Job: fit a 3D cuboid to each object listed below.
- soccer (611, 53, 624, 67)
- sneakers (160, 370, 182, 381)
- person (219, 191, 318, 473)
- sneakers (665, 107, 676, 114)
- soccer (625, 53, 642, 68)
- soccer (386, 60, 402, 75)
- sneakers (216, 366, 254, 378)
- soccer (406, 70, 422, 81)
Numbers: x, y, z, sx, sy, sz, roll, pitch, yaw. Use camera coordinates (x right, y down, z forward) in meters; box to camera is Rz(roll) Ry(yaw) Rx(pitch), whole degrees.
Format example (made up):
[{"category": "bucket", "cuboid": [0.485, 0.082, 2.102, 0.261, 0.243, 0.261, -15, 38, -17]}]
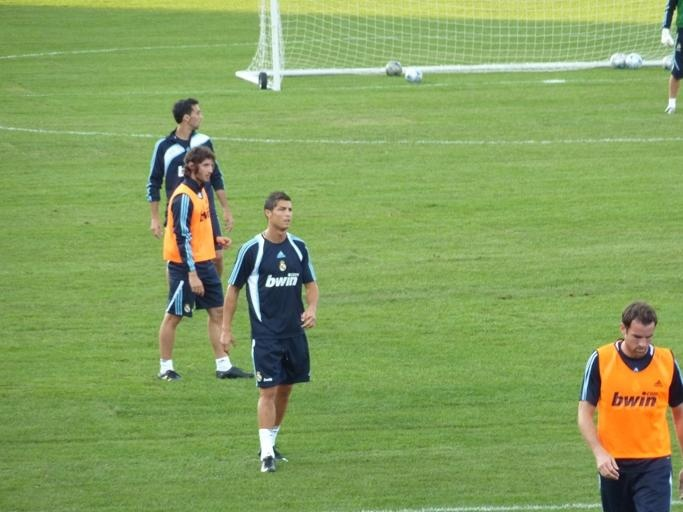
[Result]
[{"category": "soccer", "cuboid": [7.614, -5.359, 45.495, 0.400, 0.360, 0.365, 4, -25, -5]}, {"category": "sneakers", "cuboid": [-2.778, 1.985, 26.409, 0.306, 0.126, 0.144, -1, 1, 19]}, {"category": "person", "cuboid": [-1.037, 1.127, 25.118, 1.290, 4.090, 1.076, -10, 15, -43]}, {"category": "sneakers", "cuboid": [7.258, -3.164, 36.315, 0.158, 0.182, 0.442, 2, 7, -3]}, {"category": "soccer", "cuboid": [8.033, -5.310, 45.362, 0.466, 0.405, 0.479, 9, 13, 36]}, {"category": "soccer", "cuboid": [1.391, -5.059, 44.874, 0.366, 0.387, 0.426, 1, -12, 0]}, {"category": "sneakers", "cuboid": [-1.748, 1.953, 26.608, 0.628, 0.226, 0.217, 0, 1, -3]}, {"category": "soccer", "cuboid": [1.844, -4.655, 42.998, 0.337, 0.197, 0.365, 1, 5, -3]}]
